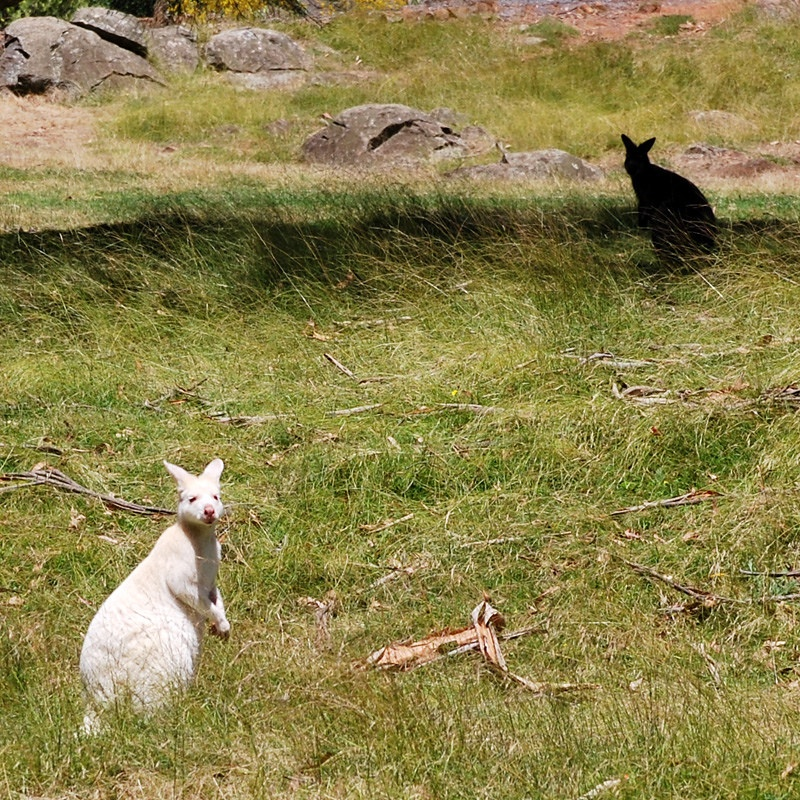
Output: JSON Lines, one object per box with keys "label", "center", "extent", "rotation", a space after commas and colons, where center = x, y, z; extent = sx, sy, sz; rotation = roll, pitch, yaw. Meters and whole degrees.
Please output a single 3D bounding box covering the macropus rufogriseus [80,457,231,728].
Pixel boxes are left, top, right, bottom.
{"label": "macropus rufogriseus", "center": [-1.112, 0.853, 7.168], "extent": [0.840, 1.051, 0.554], "rotation": [-11, 17, -16]}
